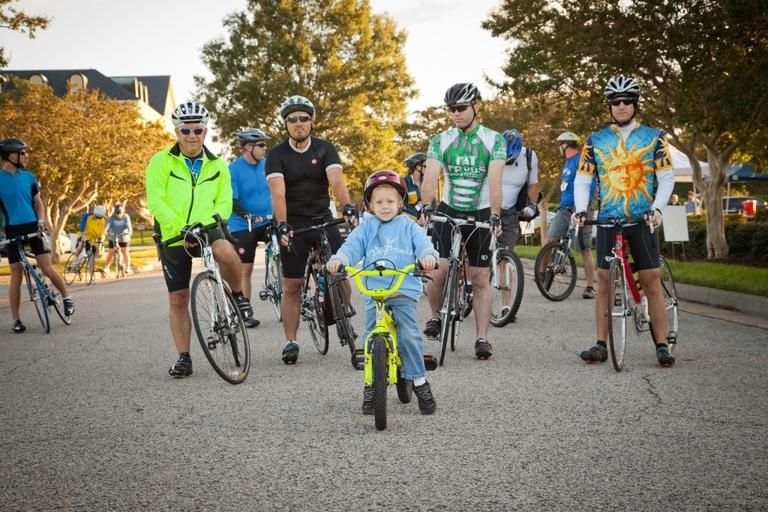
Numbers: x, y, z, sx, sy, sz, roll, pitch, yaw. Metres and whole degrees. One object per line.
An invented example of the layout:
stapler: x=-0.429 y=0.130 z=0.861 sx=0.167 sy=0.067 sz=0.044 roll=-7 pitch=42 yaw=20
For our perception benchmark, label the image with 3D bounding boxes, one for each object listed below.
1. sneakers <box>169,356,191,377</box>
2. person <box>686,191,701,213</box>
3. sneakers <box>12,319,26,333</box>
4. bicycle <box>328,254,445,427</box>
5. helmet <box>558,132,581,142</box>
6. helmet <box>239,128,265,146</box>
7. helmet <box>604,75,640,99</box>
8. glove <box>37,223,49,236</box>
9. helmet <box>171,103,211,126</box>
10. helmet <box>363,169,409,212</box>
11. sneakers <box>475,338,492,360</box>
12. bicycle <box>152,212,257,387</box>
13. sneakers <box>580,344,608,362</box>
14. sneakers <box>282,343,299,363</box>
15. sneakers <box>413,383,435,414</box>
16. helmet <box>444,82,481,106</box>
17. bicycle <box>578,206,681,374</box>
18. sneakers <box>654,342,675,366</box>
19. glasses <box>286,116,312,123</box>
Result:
sneakers: x=-2.234 y=1.218 z=6.992 sx=0.132 sy=0.167 sz=0.339 roll=-2 pitch=-10 yaw=6
person: x=14.240 y=-2.446 z=29.469 sx=0.541 sy=0.922 sz=1.783 roll=3 pitch=10 yaw=25
sneakers: x=-5.733 y=1.103 z=10.050 sx=0.129 sy=0.148 sz=0.317 roll=1 pitch=-3 yaw=-35
bicycle: x=0.059 y=0.739 z=5.761 sx=0.723 sy=1.414 sz=0.770 roll=-4 pitch=10 yaw=-18
helmet: x=3.388 y=-2.168 z=11.719 sx=0.394 sy=0.159 sz=0.287 roll=6 pitch=9 yaw=19
helmet: x=-2.092 y=-1.887 z=10.123 sx=0.388 sy=0.155 sz=0.272 roll=-5 pitch=10 yaw=-4
helmet: x=2.677 y=-1.952 z=7.182 sx=0.367 sy=0.228 sz=0.520 roll=2 pitch=4 yaw=18
glove: x=-5.315 y=-0.428 z=10.008 sx=0.181 sy=0.126 sz=0.056 roll=38 pitch=19 yaw=-40
helmet: x=-2.124 y=-1.560 z=6.994 sx=0.393 sy=0.273 sz=0.313 roll=-5 pitch=10 yaw=-18
helmet: x=0.017 y=-0.654 z=6.107 sx=0.290 sy=0.388 sz=0.345 roll=-3 pitch=18 yaw=2
sneakers: x=1.154 y=1.079 z=7.446 sx=0.175 sy=0.229 sz=0.163 roll=0 pitch=9 yaw=10
bicycle: x=-1.775 y=0.476 z=6.705 sx=0.592 sy=1.772 sz=0.888 roll=-3 pitch=9 yaw=-7
sneakers: x=2.346 y=1.080 z=7.175 sx=0.363 sy=0.181 sz=0.140 roll=7 pitch=-6 yaw=-35
sneakers: x=-1.107 y=1.137 z=7.528 sx=0.172 sy=0.228 sz=0.197 roll=-3 pitch=9 yaw=-6
sneakers: x=0.367 y=1.305 z=5.839 sx=0.119 sy=0.138 sz=0.353 roll=-28 pitch=13 yaw=4
helmet: x=0.900 y=-1.846 z=7.319 sx=0.374 sy=0.243 sz=0.318 roll=-1 pitch=9 yaw=6
bicycle: x=2.775 y=0.379 z=7.104 sx=1.334 sy=1.611 sz=0.693 roll=-10 pitch=13 yaw=-43
sneakers: x=3.077 y=1.061 z=6.980 sx=0.180 sy=0.209 sz=0.326 roll=2 pitch=10 yaw=19
glasses: x=-0.982 y=-1.574 z=7.377 sx=0.261 sy=0.070 sz=0.087 roll=-3 pitch=9 yaw=-10
